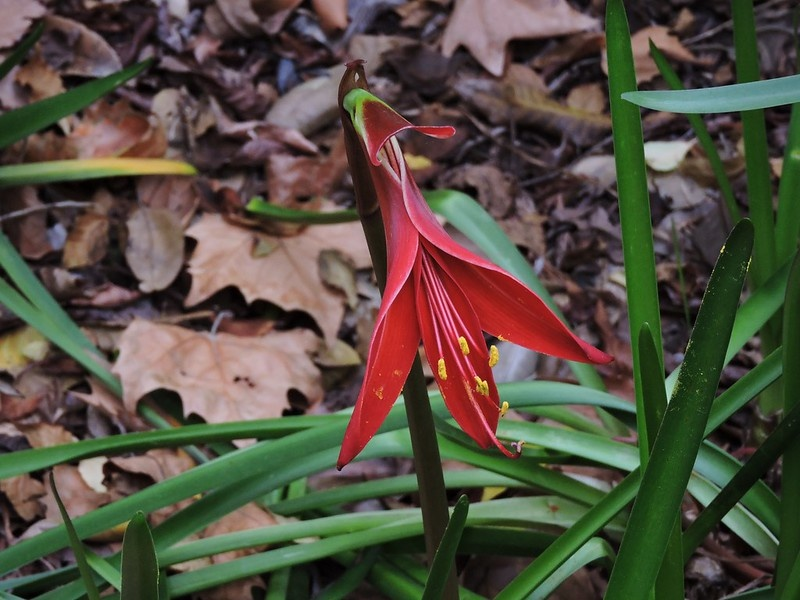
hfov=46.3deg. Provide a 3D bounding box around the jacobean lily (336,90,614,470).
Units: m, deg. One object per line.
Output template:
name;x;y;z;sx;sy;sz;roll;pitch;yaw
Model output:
jacobean lily;0.028;-0.051;1.278;0.334;0.305;0.557;-9;50;-21
